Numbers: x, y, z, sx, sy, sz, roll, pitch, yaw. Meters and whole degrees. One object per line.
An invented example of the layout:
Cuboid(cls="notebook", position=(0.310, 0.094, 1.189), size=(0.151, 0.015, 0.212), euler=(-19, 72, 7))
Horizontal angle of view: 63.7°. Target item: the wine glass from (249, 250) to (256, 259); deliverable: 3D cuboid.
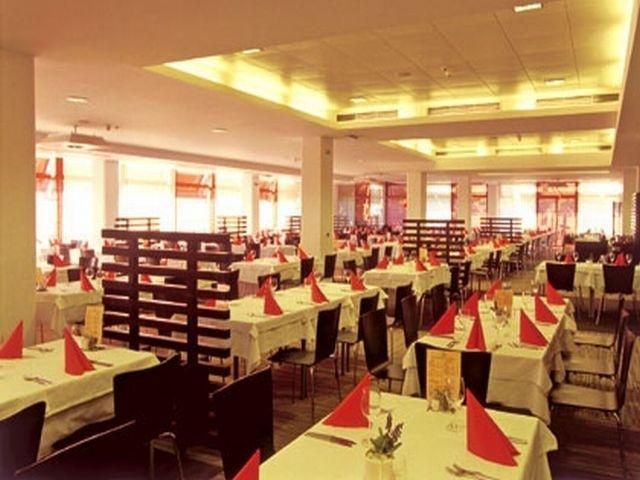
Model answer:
Cuboid(cls="wine glass", position=(-1.515, 0.306, 11.647), size=(0.179, 0.191, 0.333), euler=(-2, -7, -3))
